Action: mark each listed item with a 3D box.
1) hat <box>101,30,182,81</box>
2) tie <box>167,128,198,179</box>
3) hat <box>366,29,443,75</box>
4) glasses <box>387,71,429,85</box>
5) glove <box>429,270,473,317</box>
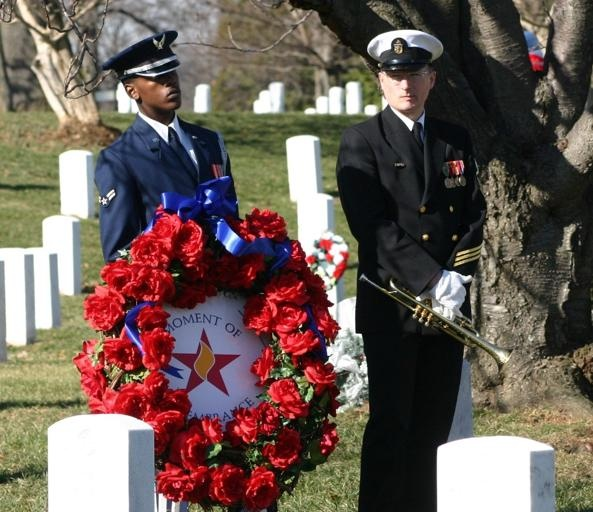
[{"bbox_3d":[-1.261,-1.625,14.573,0.708,0.332,0.635,-3,17,47],"label":"hat"},{"bbox_3d":[-0.924,-0.797,14.392,0.068,0.484,0.069,-41,-17,16],"label":"tie"},{"bbox_3d":[0.864,-1.657,14.478,0.525,0.228,0.571,1,4,10],"label":"hat"},{"bbox_3d":[0.898,-1.433,14.284,0.331,0.079,0.064,-1,12,1],"label":"glasses"},{"bbox_3d":[1.238,0.322,14.178,0.346,0.373,0.155,-2,12,-2],"label":"glove"}]
